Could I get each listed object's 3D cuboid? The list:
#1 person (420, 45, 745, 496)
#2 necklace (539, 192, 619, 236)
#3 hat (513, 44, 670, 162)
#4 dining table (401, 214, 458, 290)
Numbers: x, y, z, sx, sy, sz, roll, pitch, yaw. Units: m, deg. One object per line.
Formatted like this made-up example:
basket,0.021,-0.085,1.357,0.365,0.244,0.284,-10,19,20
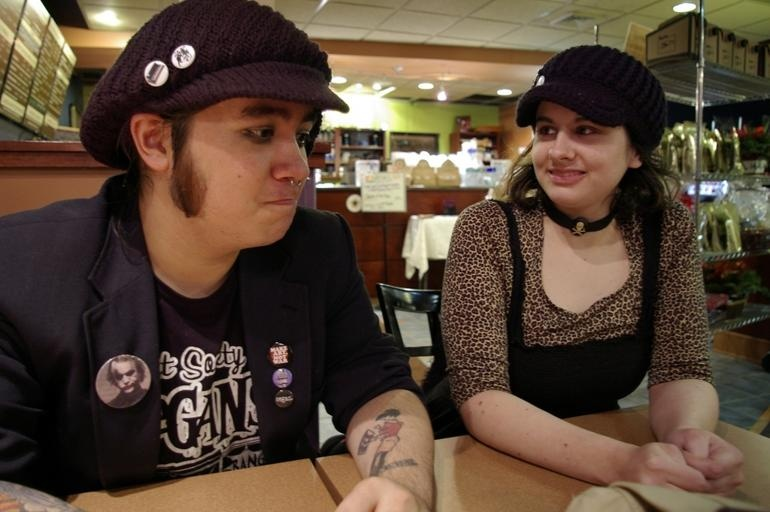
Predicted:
person,0.597,0.042,2.009,0.923,1.413,1.271,-2,-3,0
necklace,0.683,-0.121,1.911,0.188,0.067,0.209,11,0,10
hat,0.684,-0.553,1.877,0.474,0.272,0.377,7,3,-7
dining table,0.637,-0.108,6.079,0.773,0.643,0.835,-2,2,-36
